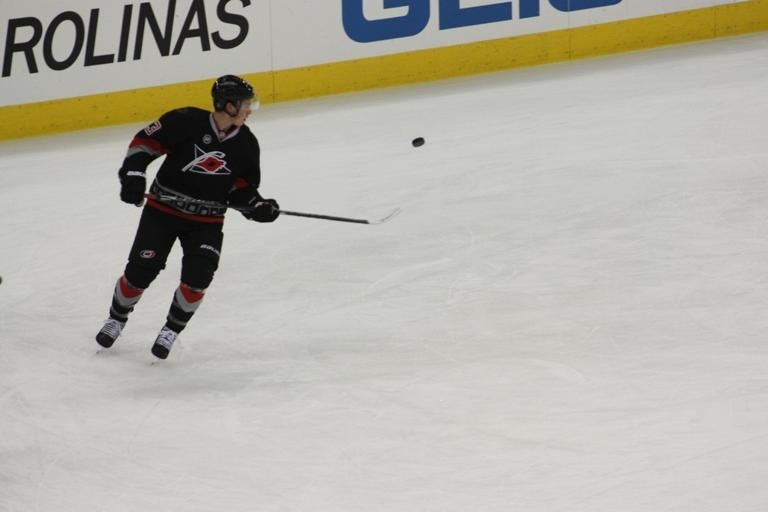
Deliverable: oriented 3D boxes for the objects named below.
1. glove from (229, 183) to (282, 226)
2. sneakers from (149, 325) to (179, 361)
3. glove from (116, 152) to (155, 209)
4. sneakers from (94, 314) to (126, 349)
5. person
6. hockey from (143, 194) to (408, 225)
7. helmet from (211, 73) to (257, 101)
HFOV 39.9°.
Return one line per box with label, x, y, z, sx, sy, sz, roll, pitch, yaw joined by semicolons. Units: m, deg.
glove;-0.749;-0.297;6.181;0.318;0.110;0.175;28;-14;-2
sneakers;-1.245;0.493;5.955;0.103;0.085;0.244;-34;21;7
glove;-1.373;-0.426;5.803;0.245;0.260;0.107;4;-6;-11
sneakers;-1.579;0.436;6.026;0.098;0.102;0.249;-45;13;8
person;-1.129;-0.204;5.937;1.119;1.541;0.548;-8;22;-11
hockey;-0.669;-0.288;6.693;1.478;0.088;0.208;3;-6;-35
helmet;-0.840;-0.939;5.879;0.236;0.102;0.140;-4;38;-6
